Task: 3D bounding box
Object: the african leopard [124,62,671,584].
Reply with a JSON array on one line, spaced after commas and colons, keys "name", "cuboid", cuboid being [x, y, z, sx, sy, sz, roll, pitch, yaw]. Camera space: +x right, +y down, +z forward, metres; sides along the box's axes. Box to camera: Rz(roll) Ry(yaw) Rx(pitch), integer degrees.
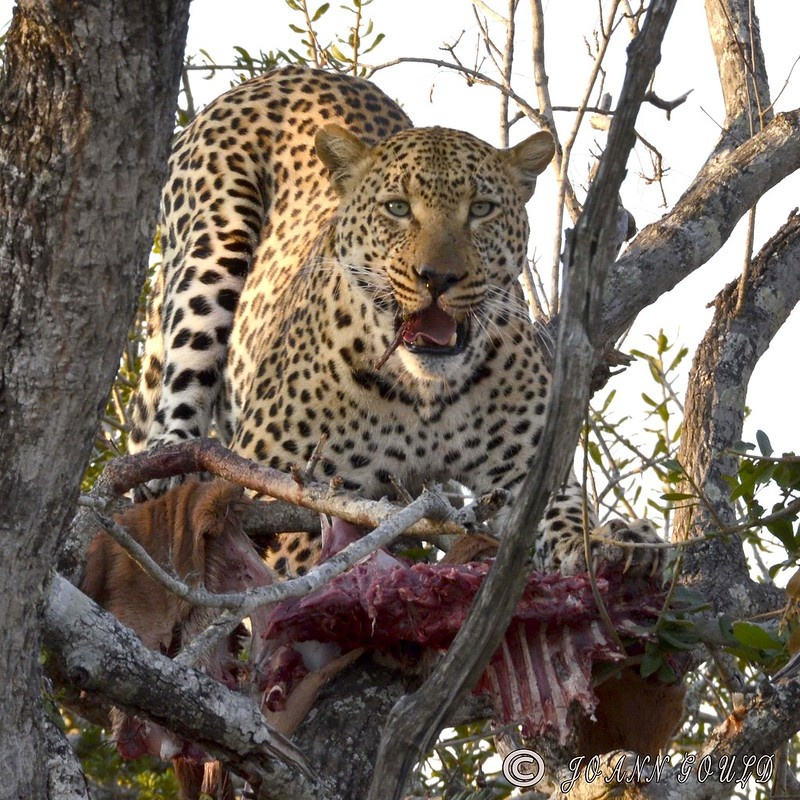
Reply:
[{"name": "african leopard", "cuboid": [-0.249, -0.355, 6.452, 1.138, 1.557, 2.858, -4, 15, -22]}]
